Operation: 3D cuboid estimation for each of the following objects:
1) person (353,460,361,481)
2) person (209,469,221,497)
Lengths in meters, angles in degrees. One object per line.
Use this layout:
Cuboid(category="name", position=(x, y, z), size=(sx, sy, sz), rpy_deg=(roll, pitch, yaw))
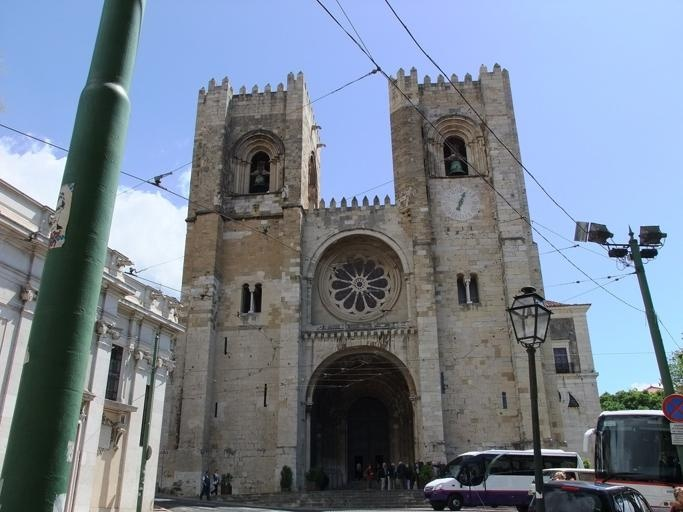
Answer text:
Cuboid(category="person", position=(0.978, 12.231, 34.886), size=(0.452, 1.011, 0.700), rpy_deg=(-1, -22, -2))
Cuboid(category="person", position=(-5.892, 10.666, 28.545), size=(0.481, 1.157, 1.416), rpy_deg=(3, -23, -11))
